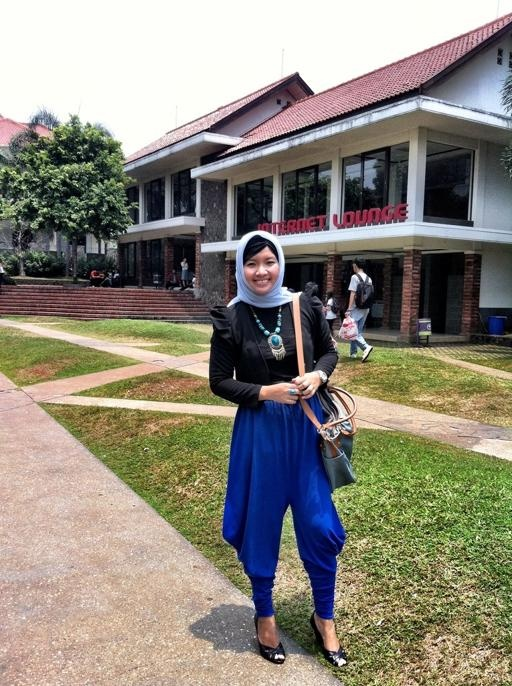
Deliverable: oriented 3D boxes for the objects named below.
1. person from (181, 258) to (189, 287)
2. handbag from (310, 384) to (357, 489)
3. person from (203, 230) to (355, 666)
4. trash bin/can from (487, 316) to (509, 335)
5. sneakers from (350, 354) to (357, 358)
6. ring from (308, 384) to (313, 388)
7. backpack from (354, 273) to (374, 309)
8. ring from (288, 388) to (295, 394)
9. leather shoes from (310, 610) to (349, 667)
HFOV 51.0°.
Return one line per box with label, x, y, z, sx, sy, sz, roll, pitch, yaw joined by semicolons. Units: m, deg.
person;-3.997;-3.837;30.159;0.456;1.584;1.253;0;6;-9
handbag;0.375;0.481;2.537;0.177;0.537;0.430;2;6;10
person;0.103;0.448;2.470;0.636;1.916;0.458;1;7;-3
trash bin/can;8.068;-0.586;17.828;0.652;0.621;0.621;0;7;-1
sneakers;1.980;0.269;10.893;0.051;0.066;0.150;-2;-7;-2
ring;0.231;0.185;2.306;0.009;0.014;0.023;5;7;31
backpack;2.127;-0.991;10.529;0.213;0.677;0.473;7;9;43
ring;0.151;0.203;2.293;0.022;0.013;0.030;1;8;0
leather shoes;0.344;1.387;2.491;0.068;0.087;0.222;2;-6;-13
